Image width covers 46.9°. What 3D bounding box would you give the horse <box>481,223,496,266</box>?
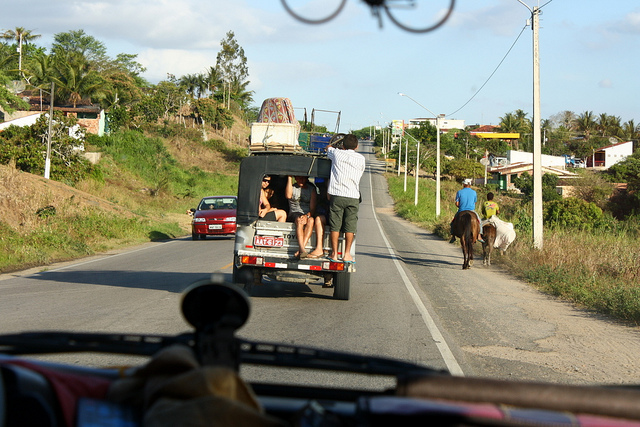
[{"bbox_3d":[5.124,0.913,22.437,0.408,1.296,0.571,3,7,13],"label":"horse"}]

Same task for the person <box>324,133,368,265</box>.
[{"bbox_3d":[0.519,-0.321,15.224,0.774,2.646,0.661,1,6,-1],"label":"person"}]

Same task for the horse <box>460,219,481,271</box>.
[{"bbox_3d":[4.261,0.870,21.112,0.434,1.418,0.699,4,7,22],"label":"horse"}]

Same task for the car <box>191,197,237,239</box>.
[{"bbox_3d":[-4.007,0.088,28.446,1.643,1.466,2.827,-1,-6,-1],"label":"car"}]

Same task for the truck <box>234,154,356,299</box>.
[{"bbox_3d":[-0.705,-0.198,17.452,2.556,3.089,4.897,4,10,-9],"label":"truck"}]

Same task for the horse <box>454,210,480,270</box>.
[{"bbox_3d":[4.261,0.748,21.219,0.562,1.651,0.932,1,7,-1],"label":"horse"}]

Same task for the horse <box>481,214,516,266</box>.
[{"bbox_3d":[5.545,0.793,22.885,0.897,1.453,1.733,4,8,25],"label":"horse"}]
